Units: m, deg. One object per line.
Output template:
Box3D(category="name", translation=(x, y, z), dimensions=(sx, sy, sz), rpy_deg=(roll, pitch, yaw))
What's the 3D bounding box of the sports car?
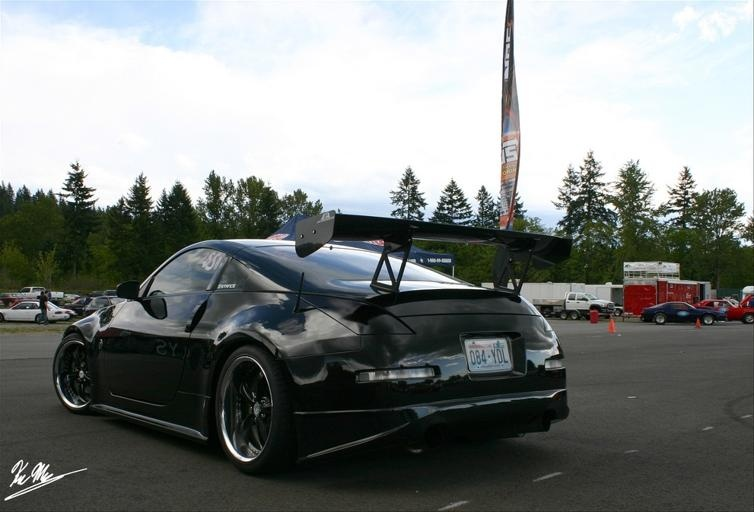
Box3D(category="sports car", translation=(-0.902, 0.700, 5.931), dimensions=(2.327, 1.214, 3.620), rpy_deg=(6, -3, -42))
